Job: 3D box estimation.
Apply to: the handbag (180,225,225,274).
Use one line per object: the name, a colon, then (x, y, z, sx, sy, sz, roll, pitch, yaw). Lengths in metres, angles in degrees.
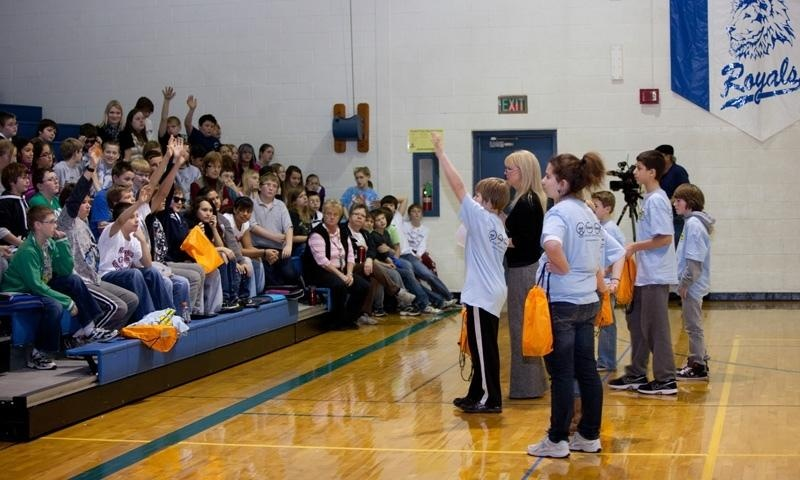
handbag: (-2.539, 0.073, 8.790, 0.226, 0.622, 0.502, -31, 27, -24)

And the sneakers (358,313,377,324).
sneakers: (-0.505, 1.245, 10.884, 0.286, 0.119, 0.141, 0, 1, 15)

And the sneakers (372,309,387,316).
sneakers: (-0.331, 1.202, 11.434, 0.264, 0.183, 0.087, 0, 0, 7)

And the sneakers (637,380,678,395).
sneakers: (2.815, 1.602, 7.600, 0.437, 0.197, 0.165, 3, -2, 11)

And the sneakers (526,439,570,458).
sneakers: (1.374, 1.896, 6.395, 0.390, 0.177, 0.162, 2, 0, 11)

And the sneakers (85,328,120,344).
sneakers: (-3.221, 1.037, 7.500, 0.321, 0.144, 0.125, -4, 0, -2)

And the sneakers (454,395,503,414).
sneakers: (0.819, 1.703, 7.267, 0.354, 0.139, 0.190, 7, -7, 6)

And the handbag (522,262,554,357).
handbag: (1.250, 0.628, 6.216, 0.254, 0.829, 0.320, 1, 10, 10)

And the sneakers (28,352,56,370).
sneakers: (-3.809, 1.261, 7.361, 0.333, 0.198, 0.144, 2, 10, 13)

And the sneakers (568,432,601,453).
sneakers: (1.714, 1.891, 6.465, 0.332, 0.151, 0.139, 3, 5, 21)

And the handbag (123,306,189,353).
handbag: (-2.705, 0.978, 7.702, 0.445, 0.256, 0.570, 17, 14, 27)

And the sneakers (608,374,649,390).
sneakers: (2.560, 1.581, 7.780, 0.450, 0.200, 0.163, 2, -6, 5)

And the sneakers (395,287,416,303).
sneakers: (0.123, 0.904, 11.490, 0.308, 0.213, 0.161, -2, 48, 39)
